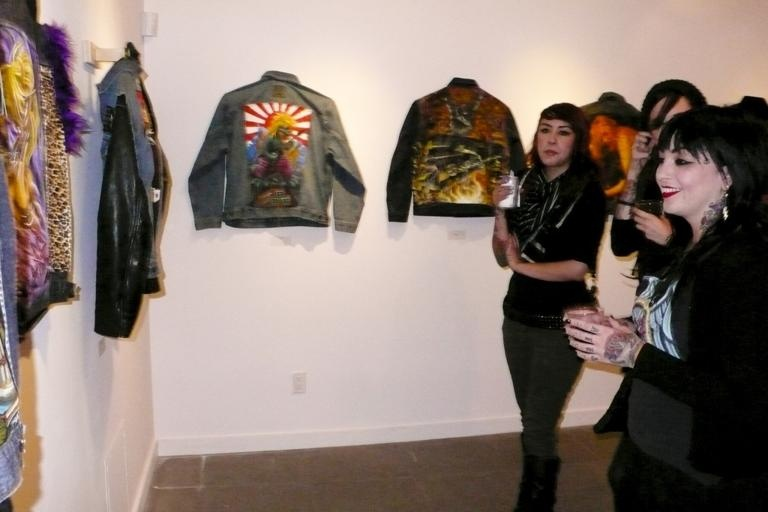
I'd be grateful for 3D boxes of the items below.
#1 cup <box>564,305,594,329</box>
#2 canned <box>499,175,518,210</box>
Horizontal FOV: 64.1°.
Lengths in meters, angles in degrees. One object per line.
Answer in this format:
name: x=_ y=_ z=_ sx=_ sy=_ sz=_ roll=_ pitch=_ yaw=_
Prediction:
cup: x=0.724 y=0.226 z=2.293 sx=0.116 sy=0.042 sz=0.109 roll=-6 pitch=9 yaw=1
canned: x=0.616 y=-0.313 z=3.011 sx=0.106 sy=0.155 sz=0.065 roll=1 pitch=13 yaw=-5
